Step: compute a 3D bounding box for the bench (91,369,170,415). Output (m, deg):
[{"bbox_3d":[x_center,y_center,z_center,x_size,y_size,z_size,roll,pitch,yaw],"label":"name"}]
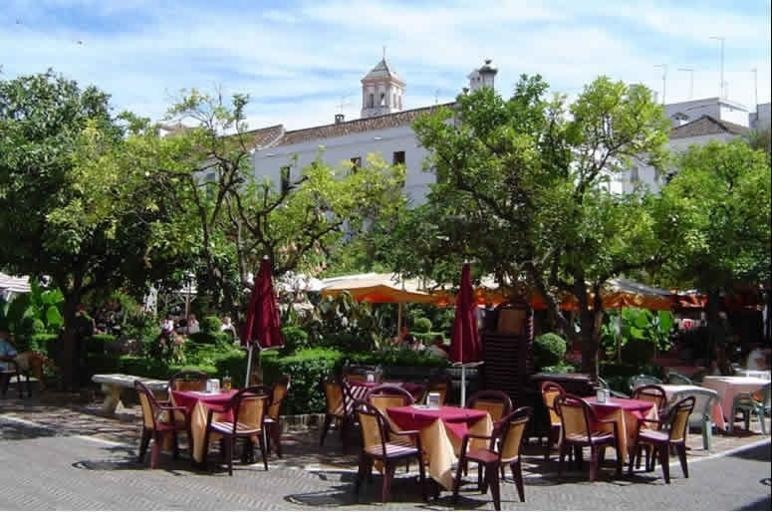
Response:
[{"bbox_3d":[-6.008,3.441,22.987,2.654,0.999,0.888,4,1,32],"label":"bench"}]
